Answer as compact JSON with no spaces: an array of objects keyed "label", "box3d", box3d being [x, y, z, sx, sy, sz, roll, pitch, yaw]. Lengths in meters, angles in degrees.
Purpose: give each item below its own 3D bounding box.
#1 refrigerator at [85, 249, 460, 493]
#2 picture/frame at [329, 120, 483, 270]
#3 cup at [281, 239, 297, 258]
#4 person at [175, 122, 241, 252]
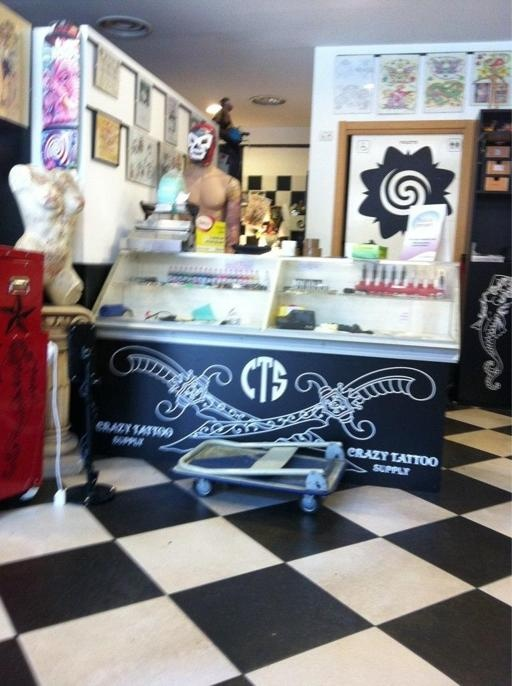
[{"label":"refrigerator","box3d":[0.058,0.086,2.722,1.796,1.094,0.423,4,5,12]},{"label":"picture/frame","box3d":[1.319,-1.399,4.875,1.223,1.235,0.329,4,5,13]},{"label":"cup","box3d":[0.170,-0.527,2.945,0.121,0.104,0.149,1,8,-5]},{"label":"person","box3d":[-0.299,-0.990,3.408,0.390,0.814,0.305,3,5,-1]}]
